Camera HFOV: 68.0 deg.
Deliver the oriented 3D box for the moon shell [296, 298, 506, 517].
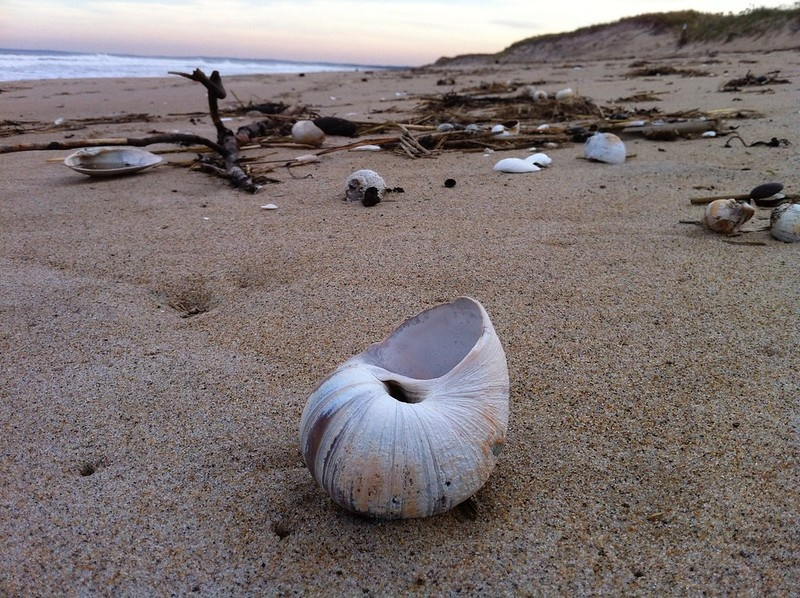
[{"bbox_3d":[0.070,0.451,2.613,0.793,0.660,0.878,14,36,21],"label":"moon shell"}]
